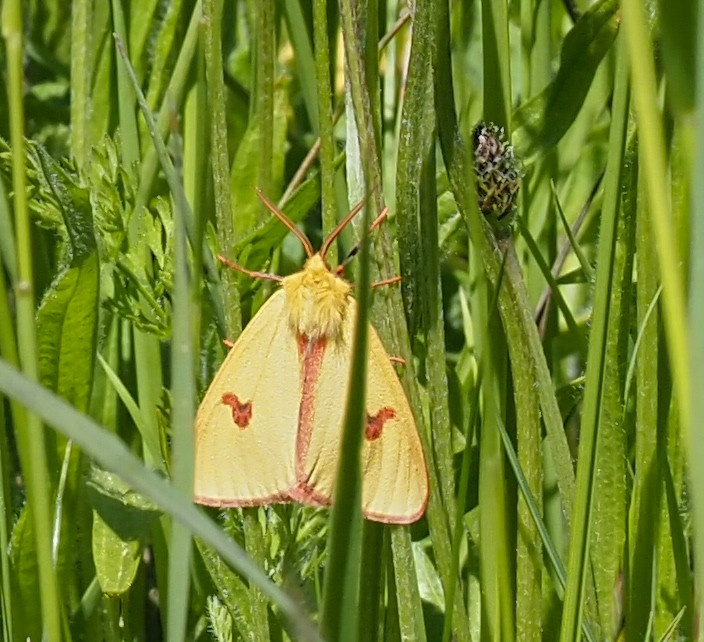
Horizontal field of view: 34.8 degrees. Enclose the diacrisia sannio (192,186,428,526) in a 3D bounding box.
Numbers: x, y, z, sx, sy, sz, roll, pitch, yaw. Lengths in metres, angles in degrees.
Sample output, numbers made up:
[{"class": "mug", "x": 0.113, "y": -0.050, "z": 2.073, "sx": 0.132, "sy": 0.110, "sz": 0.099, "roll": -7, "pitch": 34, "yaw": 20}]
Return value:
[{"class": "diacrisia sannio", "x": -0.078, "y": 0.090, "z": 1.638, "sx": 0.287, "sy": 0.551, "sz": 0.523, "roll": 1, "pitch": 88, "yaw": -2}]
